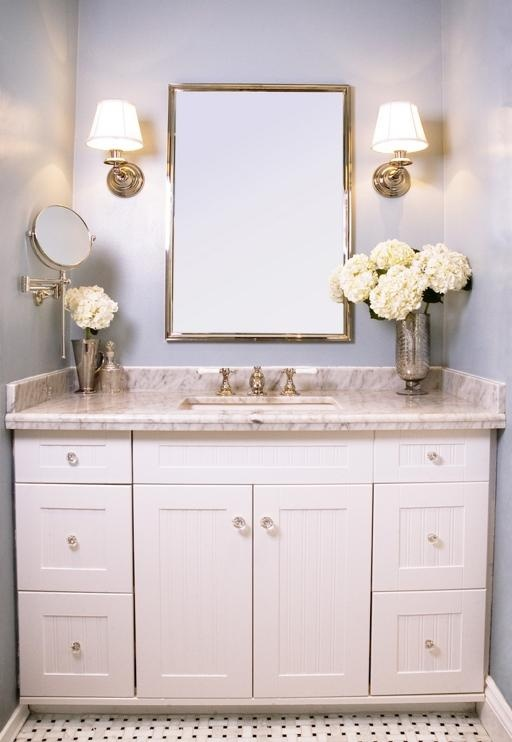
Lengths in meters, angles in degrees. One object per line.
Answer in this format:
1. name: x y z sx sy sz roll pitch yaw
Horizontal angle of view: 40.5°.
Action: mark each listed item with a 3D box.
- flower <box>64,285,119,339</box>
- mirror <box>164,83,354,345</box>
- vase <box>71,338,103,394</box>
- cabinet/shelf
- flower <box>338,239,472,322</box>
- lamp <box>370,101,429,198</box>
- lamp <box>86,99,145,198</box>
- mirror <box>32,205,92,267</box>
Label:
1. flower: -0.539 -0.171 2.268 0.176 0.193 0.198 7 -14 -25
2. mirror: 0.001 -0.583 2.394 0.880 1.182 0.049 0 2 -1
3. vase: -0.553 -0.020 2.283 0.090 0.176 0.110 -3 10 -13
4. cabinet/shelf: -0.008 0.568 2.083 1.350 0.798 0.442 0 -4 0
5. flower: 0.458 -0.288 2.184 0.437 0.240 0.256 0 9 6
6. lamp: 0.482 -0.739 2.320 0.188 0.306 0.274 2 10 13
7. lamp: -0.459 -0.718 2.278 0.163 0.289 0.154 -1 8 4
8. mirror: -0.596 -0.407 2.146 0.029 0.200 0.257 -4 5 35
